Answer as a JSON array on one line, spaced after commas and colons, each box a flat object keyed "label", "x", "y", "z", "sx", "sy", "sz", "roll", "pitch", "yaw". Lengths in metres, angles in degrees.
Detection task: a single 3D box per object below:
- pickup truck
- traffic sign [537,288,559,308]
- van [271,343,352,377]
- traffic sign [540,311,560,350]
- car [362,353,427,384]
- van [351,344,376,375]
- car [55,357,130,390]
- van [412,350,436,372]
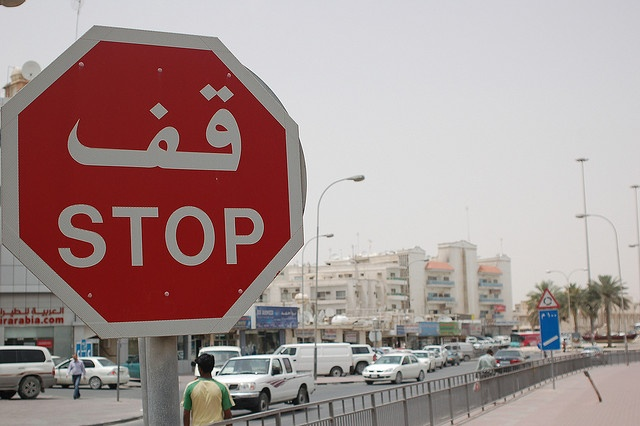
[{"label": "pickup truck", "x": -2.169, "y": 7.106, "z": 42.310, "sx": 2.300, "sy": 1.830, "sz": 4.455, "roll": -7, "pitch": -15, "yaw": 23}, {"label": "traffic sign", "x": 9.794, "y": 3.670, "z": 43.410, "sx": 0.748, "sy": 0.940, "sz": 2.256, "roll": 0, "pitch": -6, "yaw": 12}, {"label": "van", "x": -0.730, "y": 8.781, "z": 61.589, "sx": 6.062, "sy": 2.904, "sz": 2.398, "roll": 3, "pitch": -7, "yaw": -21}, {"label": "traffic sign", "x": 9.661, "y": 4.862, "z": 42.386, "sx": 0.786, "sy": 1.703, "sz": 1.270, "roll": 0, "pitch": -5, "yaw": 12}, {"label": "car", "x": 3.989, "y": 8.465, "z": 54.927, "sx": 1.664, "sy": 1.562, "sz": 3.856, "roll": -4, "pitch": -7, "yaw": 40}, {"label": "van", "x": 2.494, "y": 8.789, "z": 61.274, "sx": 1.882, "sy": 1.152, "sz": 1.138, "roll": 6, "pitch": -14, "yaw": -28}, {"label": "car", "x": -12.295, "y": 8.624, "z": 54.257, "sx": 4.398, "sy": 1.998, "sz": 1.874, "roll": -4, "pitch": -10, "yaw": 20}, {"label": "van", "x": 6.719, "y": 9.474, "z": 65.568, "sx": 1.062, "sy": 0.951, "sz": 2.481, "roll": -2, "pitch": -17, "yaw": 7}]
